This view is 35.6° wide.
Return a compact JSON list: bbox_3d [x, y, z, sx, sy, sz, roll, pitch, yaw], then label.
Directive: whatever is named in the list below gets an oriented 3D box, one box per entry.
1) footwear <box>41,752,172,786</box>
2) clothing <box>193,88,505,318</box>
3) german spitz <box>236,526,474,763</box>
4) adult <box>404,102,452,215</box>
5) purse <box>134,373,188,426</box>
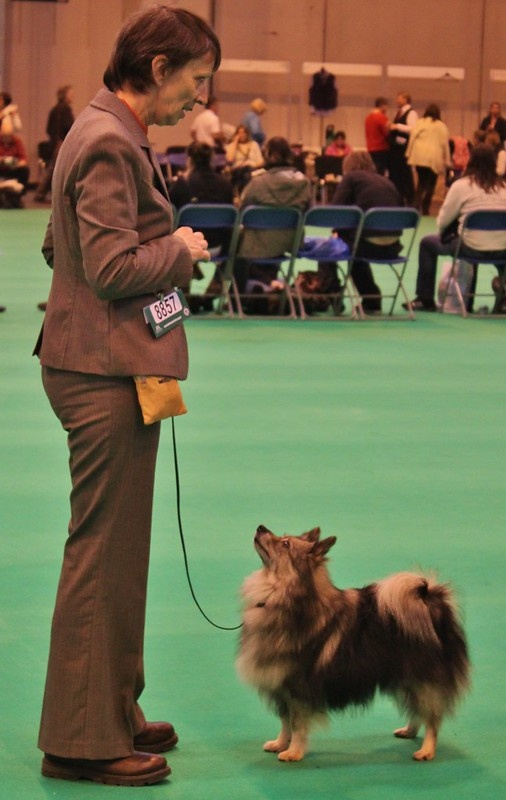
[{"bbox_3d":[-0.275,0.683,1.501,0.232,0.081,0.079,0,2,1],"label":"footwear"},{"bbox_3d":[1.023,-2.354,9.548,3.105,2.440,2.236,0,20,1],"label":"clothing"},{"bbox_3d":[0.167,0.494,1.689,0.680,0.510,0.358,2,-5,-7],"label":"german spitz"},{"bbox_3d":[2.656,-3.663,12.002,0.688,1.561,0.537,5,12,4],"label":"adult"},{"bbox_3d":[-0.165,0.003,1.404,0.063,0.099,0.112,4,12,13],"label":"purse"}]
